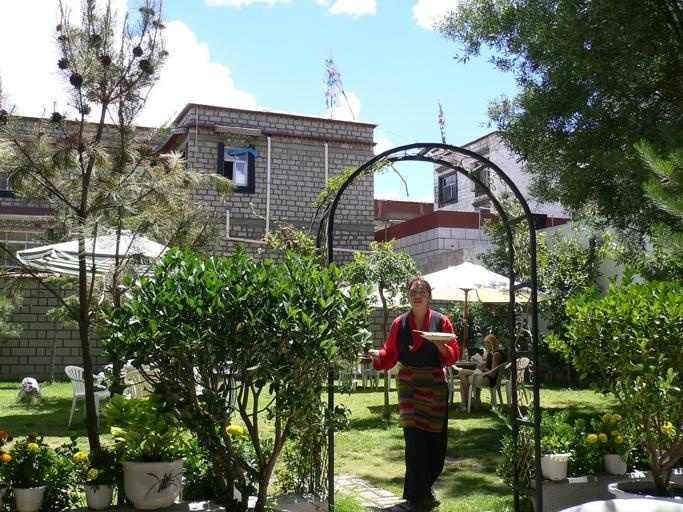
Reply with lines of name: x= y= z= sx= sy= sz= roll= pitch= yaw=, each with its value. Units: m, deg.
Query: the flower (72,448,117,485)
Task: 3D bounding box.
flower: x=-2.048 y=1.739 z=5.803 sx=0.301 sy=0.291 sz=0.413 roll=5 pitch=-11 yaw=-35

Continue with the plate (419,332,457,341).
plate: x=0.890 y=0.753 z=6.564 sx=0.316 sy=0.070 sz=0.295 roll=-2 pitch=-10 yaw=1

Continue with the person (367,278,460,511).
person: x=0.744 y=1.331 z=6.856 sx=0.644 sy=2.209 sz=0.308 roll=-3 pitch=-8 yaw=11

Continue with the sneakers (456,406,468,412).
sneakers: x=1.989 y=2.538 z=11.655 sx=0.168 sy=0.081 sz=0.080 roll=4 pitch=-11 yaw=-31

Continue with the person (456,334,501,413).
person: x=2.259 y=1.882 z=11.264 sx=0.523 sy=1.197 sz=1.310 roll=0 pitch=-9 yaw=-9

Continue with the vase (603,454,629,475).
vase: x=2.613 y=1.994 z=6.724 sx=0.210 sy=0.183 sz=0.210 roll=3 pitch=-8 yaw=-19

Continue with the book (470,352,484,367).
book: x=2.355 y=1.811 z=12.270 sx=0.120 sy=0.310 sz=0.366 roll=1 pitch=-15 yaw=-22

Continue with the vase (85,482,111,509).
vase: x=-1.964 y=1.924 z=5.655 sx=0.183 sy=0.162 sz=0.185 roll=8 pitch=-19 yaw=-27

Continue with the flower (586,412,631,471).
flower: x=2.618 y=1.802 z=6.815 sx=0.428 sy=0.533 sz=0.415 roll=1 pitch=-3 yaw=-43

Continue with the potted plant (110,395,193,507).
potted plant: x=-1.628 y=1.613 z=5.826 sx=0.623 sy=0.901 sz=0.431 roll=-5 pitch=-9 yaw=24
